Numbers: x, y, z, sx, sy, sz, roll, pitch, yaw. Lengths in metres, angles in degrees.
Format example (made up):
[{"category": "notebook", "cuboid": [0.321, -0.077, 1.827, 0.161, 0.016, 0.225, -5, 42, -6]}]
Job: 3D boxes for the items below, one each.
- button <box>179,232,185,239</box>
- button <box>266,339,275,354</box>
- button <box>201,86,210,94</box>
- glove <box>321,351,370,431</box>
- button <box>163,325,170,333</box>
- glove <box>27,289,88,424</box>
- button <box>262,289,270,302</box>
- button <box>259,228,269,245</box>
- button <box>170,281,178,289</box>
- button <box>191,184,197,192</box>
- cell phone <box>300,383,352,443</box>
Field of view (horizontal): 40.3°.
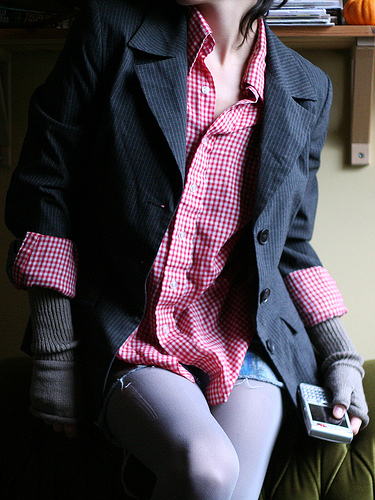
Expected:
[{"category": "button", "cuboid": [-0.007, -0.025, 0.792, 0.008, 0.008, 0.002, 1, -1, -45]}, {"category": "button", "cuboid": [0.138, 0.160, 0.854, 0.006, 0.023, 0.016, -19, -24, 32]}, {"category": "button", "cuboid": [0.031, -0.264, 0.835, 0.012, 0.011, 0.008, 9, 21, 4]}, {"category": "glove", "cuboid": [0.260, 0.230, 0.899, 0.084, 0.056, 0.140, 30, 45, -22]}, {"category": "button", "cuboid": [-0.033, 0.123, 0.797, 0.002, 0.010, 0.010, 0, -5, 24]}, {"category": "glove", "cuboid": [-0.199, 0.155, 0.787, 0.062, 0.194, 0.086, 0, -5, -43]}, {"category": "button", "cuboid": [0.132, 0.075, 0.859, 0.004, 0.018, 0.014, 17, 6, 32]}, {"category": "button", "cuboid": [0.128, -0.023, 0.852, 0.009, 0.022, 0.023, 10, 16, 28]}, {"category": "button", "cuboid": [-0.020, 0.053, 0.790, 0.004, 0.011, 0.015, 24, 26, 37]}, {"category": "button", "cuboid": [0.011, -0.097, 0.794, 0.011, 0.011, 0.003, -14, 29, -43]}, {"category": "cell phone", "cuboid": [0.223, 0.267, 0.842, 0.071, 0.030, 0.127, 14, 18, -1]}]
